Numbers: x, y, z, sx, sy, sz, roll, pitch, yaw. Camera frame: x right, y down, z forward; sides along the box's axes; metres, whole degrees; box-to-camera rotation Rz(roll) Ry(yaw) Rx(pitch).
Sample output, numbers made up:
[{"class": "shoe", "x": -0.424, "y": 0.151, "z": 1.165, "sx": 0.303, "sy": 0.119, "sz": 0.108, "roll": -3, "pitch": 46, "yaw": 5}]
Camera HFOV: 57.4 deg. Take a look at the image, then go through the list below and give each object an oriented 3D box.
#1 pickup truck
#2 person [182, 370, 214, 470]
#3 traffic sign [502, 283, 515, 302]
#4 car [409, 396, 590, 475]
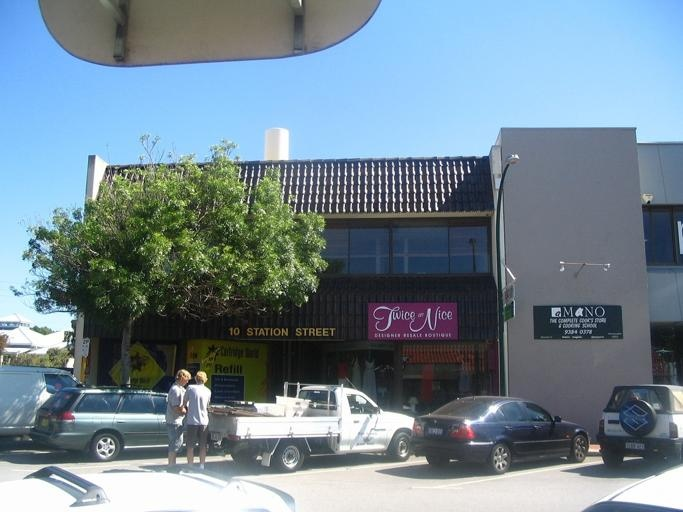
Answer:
[{"class": "pickup truck", "x": -0.662, "y": 4.011, "z": 14.798, "sx": 4.907, "sy": 1.815, "sz": 1.935, "roll": 9, "pitch": -12, "yaw": -38}, {"class": "person", "x": -2.961, "y": 3.323, "z": 12.628, "sx": 0.497, "sy": 1.861, "sz": 0.514, "roll": 3, "pitch": -9, "yaw": -12}, {"class": "traffic sign", "x": 4.612, "y": 1.060, "z": 17.118, "sx": 0.132, "sy": 0.548, "sz": 0.503, "roll": 5, "pitch": -1, "yaw": -24}, {"class": "car", "x": 3.874, "y": 4.168, "z": 14.829, "sx": 4.498, "sy": 1.580, "sz": 1.753, "roll": 7, "pitch": -11, "yaw": -32}]
